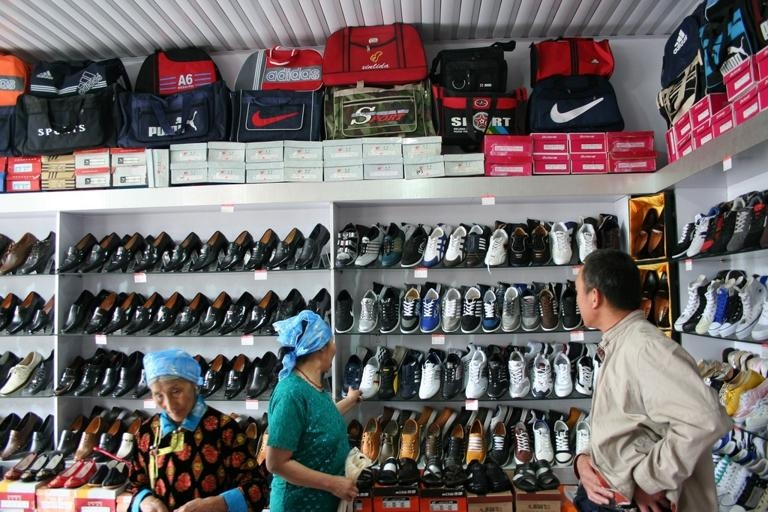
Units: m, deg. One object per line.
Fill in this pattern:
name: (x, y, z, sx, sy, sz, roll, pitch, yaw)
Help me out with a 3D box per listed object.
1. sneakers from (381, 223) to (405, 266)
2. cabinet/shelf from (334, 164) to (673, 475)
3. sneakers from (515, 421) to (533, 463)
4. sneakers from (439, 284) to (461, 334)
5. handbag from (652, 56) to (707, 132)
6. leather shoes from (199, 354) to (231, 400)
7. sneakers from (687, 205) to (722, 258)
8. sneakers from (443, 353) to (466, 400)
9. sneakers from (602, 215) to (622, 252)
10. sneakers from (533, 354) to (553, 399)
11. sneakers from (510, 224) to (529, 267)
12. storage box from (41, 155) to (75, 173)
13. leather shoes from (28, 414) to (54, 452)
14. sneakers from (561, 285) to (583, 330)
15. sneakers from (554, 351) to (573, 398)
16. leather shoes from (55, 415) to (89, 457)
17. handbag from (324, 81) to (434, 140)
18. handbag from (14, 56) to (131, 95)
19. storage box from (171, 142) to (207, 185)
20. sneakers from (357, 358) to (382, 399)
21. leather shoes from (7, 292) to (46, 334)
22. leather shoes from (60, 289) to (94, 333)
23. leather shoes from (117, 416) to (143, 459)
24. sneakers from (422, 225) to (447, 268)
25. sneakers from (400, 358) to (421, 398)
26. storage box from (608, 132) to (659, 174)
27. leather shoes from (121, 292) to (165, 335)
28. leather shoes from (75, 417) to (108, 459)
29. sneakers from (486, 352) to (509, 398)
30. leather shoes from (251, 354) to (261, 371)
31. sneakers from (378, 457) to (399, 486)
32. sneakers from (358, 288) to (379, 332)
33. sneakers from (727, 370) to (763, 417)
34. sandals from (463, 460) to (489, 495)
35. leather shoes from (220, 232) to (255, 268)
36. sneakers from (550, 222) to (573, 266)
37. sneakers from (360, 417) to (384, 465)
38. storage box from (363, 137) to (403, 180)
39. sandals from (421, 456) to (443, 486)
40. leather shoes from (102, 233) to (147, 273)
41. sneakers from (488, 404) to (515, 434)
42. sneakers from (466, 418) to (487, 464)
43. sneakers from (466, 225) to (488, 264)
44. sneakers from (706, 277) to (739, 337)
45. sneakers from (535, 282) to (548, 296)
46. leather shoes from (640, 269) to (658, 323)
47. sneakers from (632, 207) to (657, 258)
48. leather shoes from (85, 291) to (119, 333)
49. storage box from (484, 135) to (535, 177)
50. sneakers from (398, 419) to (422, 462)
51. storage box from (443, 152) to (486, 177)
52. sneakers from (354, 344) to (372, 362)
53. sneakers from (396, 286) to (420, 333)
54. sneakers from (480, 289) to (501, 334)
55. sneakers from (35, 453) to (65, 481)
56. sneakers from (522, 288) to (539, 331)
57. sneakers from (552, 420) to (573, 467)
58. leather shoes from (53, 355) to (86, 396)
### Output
sneakers: (0.097, -0.087, 4.840, 0.142, 0.382, 0.161, -2, -26, 25)
cabinet/shelf: (0.910, 0.394, 5.016, 2.793, 1.667, 0.871, -1, -13, 14)
sneakers: (1.082, 1.460, 4.622, 0.151, 0.145, 0.423, -4, 26, 8)
sneakers: (0.531, 0.427, 4.705, 0.122, 0.371, 0.133, 2, -34, 11)
handbag: (2.211, -1.223, 4.433, 0.155, 0.387, 0.280, 14, -2, -21)
leather shoes: (-1.374, 1.007, 4.886, 0.145, 0.351, 0.110, 3, -44, 17)
sneakers: (2.224, -0.151, 4.172, 0.159, 0.406, 0.133, 28, -10, -1)
sneakers: (0.545, 0.962, 4.660, 0.124, 0.364, 0.140, -2, -37, 21)
sneakers: (1.820, -0.178, 4.729, 0.144, 0.444, 0.185, -14, -58, 29)
sneakers: (1.246, 0.949, 4.672, 0.158, 0.443, 0.146, -2, -56, 17)
sneakers: (1.073, -0.062, 4.683, 0.125, 0.139, 0.352, 0, 32, 11)
storage box: (-2.680, -0.763, 4.907, 0.201, 0.066, 0.154, -1, 4, -8)
leather shoes: (-2.795, 1.472, 4.883, 0.157, 0.294, 0.178, 9, -16, -30)
sneakers: (1.475, 0.401, 4.635, 0.118, 0.359, 0.141, -4, -27, 31)
sneakers: (1.408, 0.933, 4.647, 0.146, 0.403, 0.147, -4, -56, 15)
leather shoes: (-2.516, 1.466, 4.835, 0.117, 0.330, 0.129, 1, -39, 11)
handbag: (-0.044, -1.154, 4.611, 0.755, 0.464, 0.248, -2, 0, 3)
handbag: (-2.571, -1.504, 4.984, 0.640, 0.231, 0.383, -1, 8, -9)
storage box: (-1.562, -0.737, 4.809, 0.316, 0.310, 0.319, -1, 0, 1)
sneakers: (-0.105, 0.972, 4.644, 0.124, 0.320, 0.127, 3, -50, 9)
leather shoes: (-2.979, 0.473, 5.032, 0.145, 0.428, 0.152, 20, -22, 8)
leather shoes: (-2.483, 0.467, 4.930, 0.132, 0.390, 0.149, 13, -31, 5)
leather shoes: (-2.051, 1.509, 4.781, 0.135, 0.146, 0.402, 12, 19, -7)
sneakers: (0.425, -0.086, 4.775, 0.221, 0.373, 0.111, 1, -14, -4)
sneakers: (0.207, 0.961, 4.709, 0.119, 0.336, 0.131, -4, -25, 32)
storage box: (1.930, -0.796, 4.645, 0.338, 0.319, 0.338, -1, 1, 5)
leather shoes: (-1.984, 0.485, 4.923, 0.296, 0.358, 0.151, 7, -15, -24)
leather shoes: (-2.359, 1.477, 4.805, 0.107, 0.335, 0.119, 4, -23, 16)
sneakers: (0.906, 0.930, 4.645, 0.125, 0.381, 0.167, -1, -45, 16)
leather shoes: (-1.036, 0.880, 4.870, 0.042, 0.052, 0.125, 43, 14, -14)
sneakers: (0.040, 1.604, 4.368, 0.093, 0.075, 0.237, 1, 10, 0)
sneakers: (-0.105, 0.437, 4.764, 0.132, 0.342, 0.133, 2, -45, 7)
sneakers: (2.376, 0.924, 3.897, 0.120, 0.298, 0.106, 39, 6, -2)
sandals: (0.701, 1.643, 4.499, 0.176, 0.201, 0.488, -10, -6, 3)
leather shoes: (-1.208, -0.043, 4.904, 0.276, 0.346, 0.097, 5, -15, -18)
sneakers: (1.402, -0.083, 4.692, 0.137, 0.376, 0.148, -1, -37, 10)
sneakers: (-0.091, 1.436, 4.593, 0.122, 0.338, 0.119, 2, -43, 15)
storage box: (0.003, -0.786, 4.867, 0.320, 0.309, 0.333, -1, 2, 6)
sandals: (0.365, 1.615, 4.430, 0.155, 0.186, 0.265, -1, -14, 5)
leather shoes: (-2.178, -0.012, 4.970, 0.165, 0.173, 0.458, 5, 29, 1)
sneakers: (0.945, 1.272, 4.782, 0.121, 0.310, 0.104, 33, -11, -12)
sneakers: (0.729, 1.483, 4.632, 0.161, 0.159, 0.463, -1, 15, 13)
sneakers: (0.766, -0.096, 4.766, 0.124, 0.375, 0.148, -1, -37, 28)
sneakers: (2.287, 0.337, 4.116, 0.199, 0.445, 0.131, 40, -21, -31)
sneakers: (1.268, 0.273, 4.768, 0.084, 0.107, 0.251, -2, 0, 10)
leather shoes: (2.047, 0.306, 4.615, 0.149, 0.428, 0.155, -5, -6, 44)
sneakers: (2.032, -0.170, 4.612, 0.107, 0.389, 0.131, 13, -4, -40)
leather shoes: (-2.320, 0.468, 4.948, 0.134, 0.381, 0.126, 7, -26, 11)
storage box: (0.988, -0.793, 4.791, 0.345, 0.269, 0.338, 0, 0, -1)
sneakers: (0.193, 1.431, 4.593, 0.165, 0.307, 0.257, -1, -14, 7)
storage box: (0.636, -0.718, 4.678, 0.328, 0.173, 0.064, 0, -14, -1)
sneakers: (-0.164, 0.807, 4.875, 0.123, 0.124, 0.050, -17, -24, 28)
sneakers: (0.209, 0.435, 4.723, 0.134, 0.377, 0.146, 2, -35, 11)
sneakers: (0.844, 0.437, 4.676, 0.124, 0.360, 0.129, 0, -47, 14)
sneakers: (-2.566, 1.647, 4.595, 0.086, 0.081, 0.209, 8, 13, 8)
sneakers: (1.147, 0.425, 4.635, 0.105, 0.320, 0.126, 0, -24, 12)
sneakers: (1.387, 1.463, 4.607, 0.145, 0.143, 0.419, -1, 21, 9)
leather shoes: (-2.555, 0.986, 4.856, 0.194, 0.318, 0.124, 7, -15, -26)
